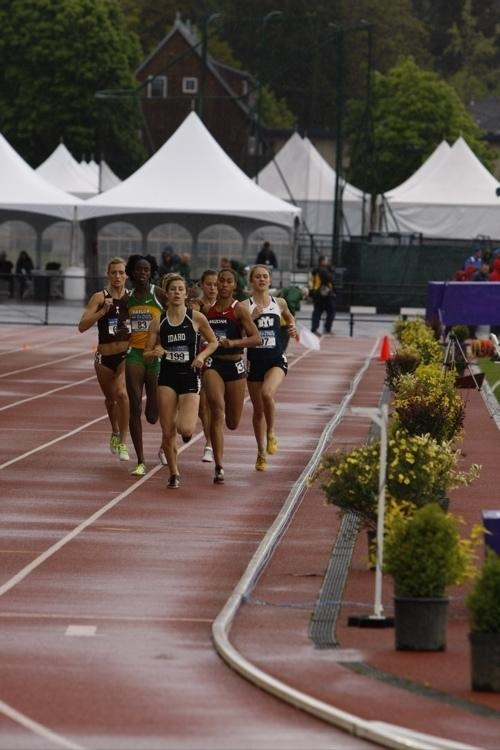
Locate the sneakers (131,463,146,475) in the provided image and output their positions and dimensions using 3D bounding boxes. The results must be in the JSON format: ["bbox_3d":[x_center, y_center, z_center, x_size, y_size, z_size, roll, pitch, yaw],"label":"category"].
[{"bbox_3d":[-1.226,1.077,9.899,0.079,0.091,0.197,2,2,4],"label":"sneakers"}]

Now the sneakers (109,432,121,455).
[{"bbox_3d":[-1.619,0.855,10.781,0.111,0.339,0.132,-3,11,-14],"label":"sneakers"}]

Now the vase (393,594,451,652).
[{"bbox_3d":[0.840,1.229,4.370,0.261,0.246,0.285,1,-4,-3],"label":"vase"}]

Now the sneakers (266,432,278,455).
[{"bbox_3d":[0.280,0.822,10.774,0.107,0.136,0.306,-1,24,2],"label":"sneakers"}]

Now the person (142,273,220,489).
[{"bbox_3d":[-0.711,0.112,8.855,0.705,2.235,0.688,2,7,2],"label":"person"}]
